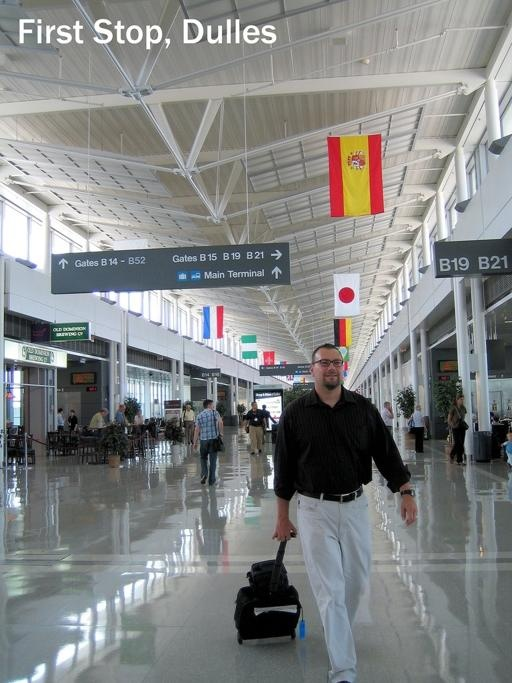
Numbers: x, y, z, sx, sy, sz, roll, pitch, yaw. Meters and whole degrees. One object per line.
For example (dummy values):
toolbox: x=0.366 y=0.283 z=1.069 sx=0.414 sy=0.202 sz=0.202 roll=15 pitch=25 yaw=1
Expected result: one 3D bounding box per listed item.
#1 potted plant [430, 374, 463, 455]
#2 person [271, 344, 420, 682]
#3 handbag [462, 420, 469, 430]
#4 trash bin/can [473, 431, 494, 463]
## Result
potted plant: x=6.045 y=2.107 z=15.726 sx=0.842 sy=2.011 sz=0.743 roll=-14 pitch=7 yaw=1
person: x=0.380 y=0.695 z=2.200 sx=0.530 sy=1.356 sz=0.470 roll=2 pitch=-8 yaw=-31
handbag: x=5.606 y=2.272 z=13.405 sx=0.097 sy=0.250 sz=0.803 roll=-5 pitch=-8 yaw=26
trash bin/can: x=6.132 y=2.860 z=13.519 sx=0.523 sy=0.818 sz=0.360 roll=-3 pitch=-7 yaw=7
